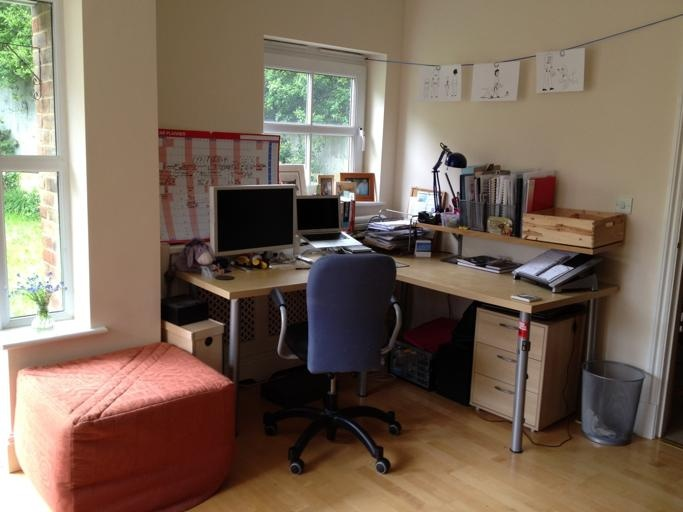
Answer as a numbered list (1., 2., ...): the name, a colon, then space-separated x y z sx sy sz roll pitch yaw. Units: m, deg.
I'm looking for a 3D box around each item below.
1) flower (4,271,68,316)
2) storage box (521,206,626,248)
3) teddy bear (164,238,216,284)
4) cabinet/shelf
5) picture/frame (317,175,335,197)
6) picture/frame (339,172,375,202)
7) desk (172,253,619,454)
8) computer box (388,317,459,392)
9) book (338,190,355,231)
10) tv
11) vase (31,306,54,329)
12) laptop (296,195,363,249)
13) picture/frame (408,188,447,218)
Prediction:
1. flower: -1.587 0.165 2.828 0.237 0.226 0.227 -6 10 -24
2. storage box: 1.453 -0.186 3.381 0.338 0.186 0.527 -14 20 -42
3. teddy bear: -0.907 -0.031 3.348 0.296 0.182 0.266 -8 27 22
4. cabinet/shelf: 1.164 0.682 3.512 0.504 0.701 0.541 -8 17 -35
5. picture/frame: -0.111 -0.564 4.233 0.124 0.137 0.256 1 15 8
6. picture/frame: 0.121 -0.553 4.326 0.269 0.243 0.019 -2 -1 -33
7. desk: 0.380 0.208 3.265 1.552 0.659 1.500 6 8 44
8. computer box: 0.606 0.655 3.988 0.570 0.383 0.396 -13 22 -40
9. book: 0.041 -0.331 4.068 0.157 0.288 0.288 -2 8 -11
10. tv: -0.565 -0.234 3.399 0.425 0.321 0.058 -8 15 -36
11. vase: -1.574 0.327 2.857 0.104 0.154 0.110 0 7 -10
12. laptop: -0.094 -0.247 3.779 0.446 0.351 0.272 -5 15 -15
13. picture/frame: 0.683 -0.412 4.183 0.026 0.250 0.235 -4 10 -42
